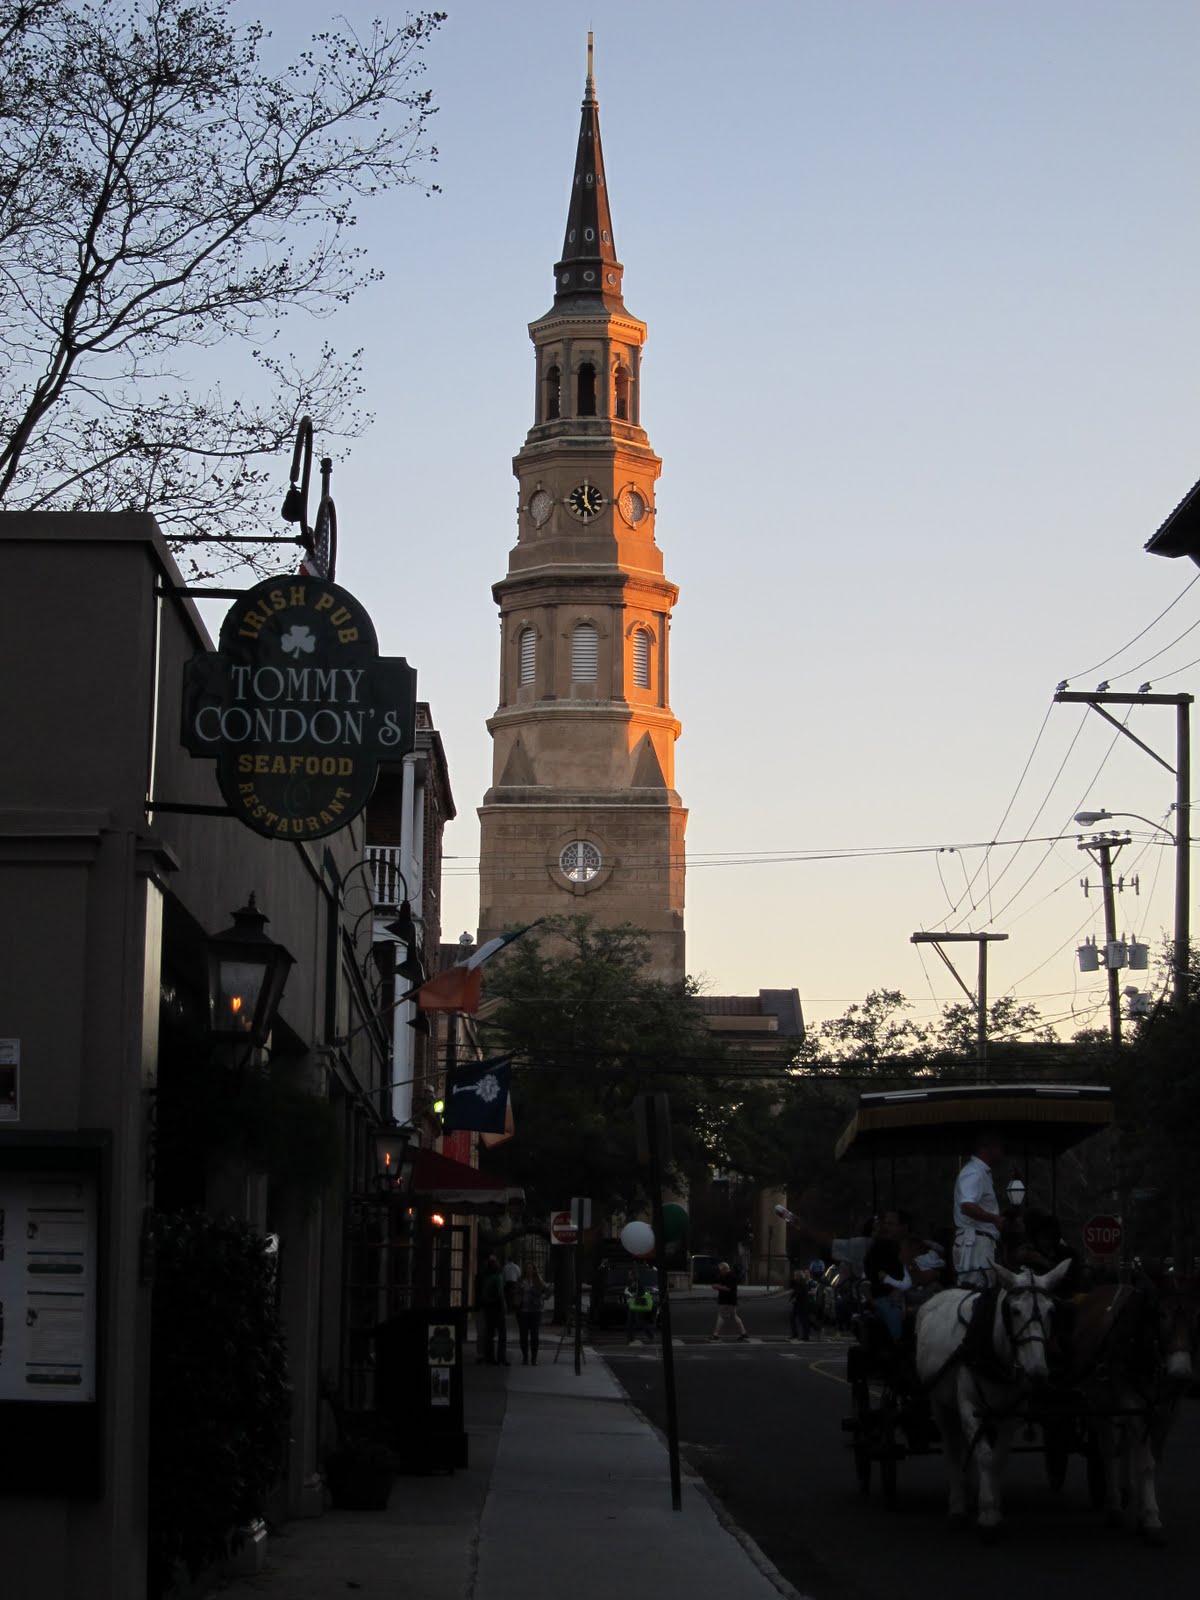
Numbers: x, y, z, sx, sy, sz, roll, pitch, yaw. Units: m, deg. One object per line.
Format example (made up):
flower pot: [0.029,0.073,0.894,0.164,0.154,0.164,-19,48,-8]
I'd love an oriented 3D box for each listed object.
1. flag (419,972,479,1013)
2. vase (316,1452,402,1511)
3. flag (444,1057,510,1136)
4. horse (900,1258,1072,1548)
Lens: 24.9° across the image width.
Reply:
flag: [-1.958,2.462,34.601,0.637,0.434,0.069,1,-3,-30]
vase: [-1.516,4.197,16.694,0.372,0.261,0.335,-1,-8,2]
flag: [-1.727,4.080,37.385,0.901,1.024,1.245,-1,-12,-4]
horse: [2.111,3.410,15.475,0.495,1.433,2.168,0,-9,-9]
